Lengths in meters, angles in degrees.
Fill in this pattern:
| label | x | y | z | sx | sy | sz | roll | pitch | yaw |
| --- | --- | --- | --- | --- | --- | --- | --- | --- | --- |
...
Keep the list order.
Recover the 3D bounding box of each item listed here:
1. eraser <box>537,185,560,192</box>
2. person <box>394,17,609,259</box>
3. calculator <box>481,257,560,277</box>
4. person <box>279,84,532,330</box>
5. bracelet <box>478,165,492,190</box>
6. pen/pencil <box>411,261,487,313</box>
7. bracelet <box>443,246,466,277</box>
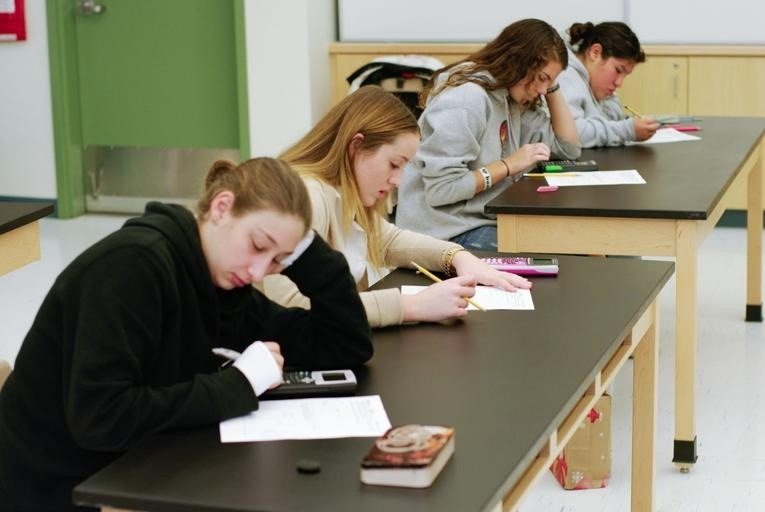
| label | x | y | z | sx | sy | sz | roll | pitch | yaw |
| --- | --- | --- | --- | --- | --- | --- | --- | --- | --- |
| eraser | 0.663 | -0.275 | 2.782 | 0.067 | 0.017 | 0.040 | -2 | 14 | -5 |
| person | 0.557 | -0.623 | 3.353 | 0.921 | 1.201 | 0.851 | 9 | 24 | 21 |
| calculator | 0.433 | 0.027 | 2.158 | 0.174 | 0.036 | 0.092 | 1 | 15 | 4 |
| person | -0.011 | -0.105 | 2.150 | 0.824 | 0.706 | 0.654 | 21 | 22 | 38 |
| bracelet | 0.475 | -0.366 | 3.160 | 0.057 | 0.082 | 0.082 | -7 | 44 | -18 |
| pen/pencil | 0.195 | 0.090 | 1.967 | 0.242 | 0.019 | 0.019 | 33 | 14 | 21 |
| bracelet | 0.235 | 0.017 | 2.192 | 0.047 | 0.091 | 0.068 | 0 | -9 | 32 |
